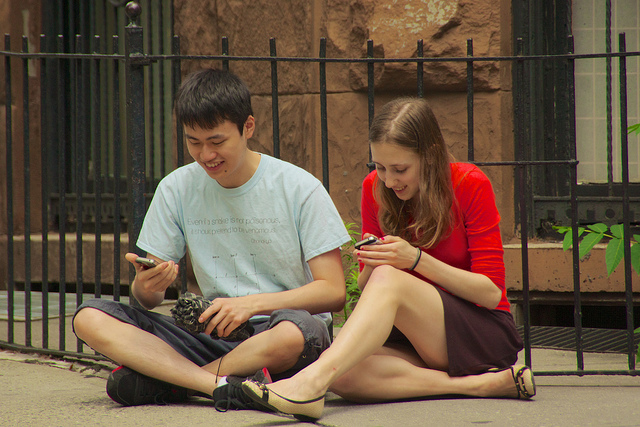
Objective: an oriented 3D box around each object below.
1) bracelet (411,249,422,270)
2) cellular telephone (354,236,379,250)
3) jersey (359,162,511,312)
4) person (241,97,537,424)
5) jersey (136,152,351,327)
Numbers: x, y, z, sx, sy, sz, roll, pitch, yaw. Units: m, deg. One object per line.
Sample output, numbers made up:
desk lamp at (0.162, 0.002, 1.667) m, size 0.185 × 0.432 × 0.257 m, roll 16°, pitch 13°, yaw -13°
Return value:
bracelet at (0.602, 0.276, 6.641) m, size 0.049 × 0.114 × 0.089 m, roll 7°, pitch 15°, yaw 28°
cellular telephone at (0.279, 0.177, 6.653) m, size 0.148 × 0.097 × 0.116 m, roll -3°, pitch 14°, yaw -11°
jersey at (0.869, -0.006, 6.966) m, size 0.427 × 0.710 × 0.756 m, roll -4°, pitch 15°, yaw -20°
person at (0.530, 0.244, 6.616) m, size 1.455 × 1.811 × 0.718 m, roll -3°, pitch 14°, yaw -12°
jersey at (-0.521, 0.152, 6.964) m, size 1.434 × 1.080 × 0.792 m, roll -1°, pitch 10°, yaw 13°
